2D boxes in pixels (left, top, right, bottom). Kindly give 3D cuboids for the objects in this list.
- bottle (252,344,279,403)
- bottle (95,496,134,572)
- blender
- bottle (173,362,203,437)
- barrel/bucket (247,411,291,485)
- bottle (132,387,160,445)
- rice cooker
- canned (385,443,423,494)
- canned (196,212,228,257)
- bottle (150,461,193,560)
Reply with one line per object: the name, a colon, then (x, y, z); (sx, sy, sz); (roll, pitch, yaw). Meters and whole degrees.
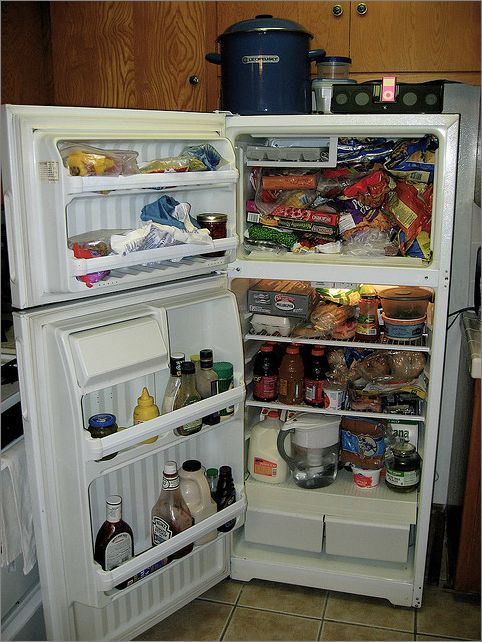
bottle: (0.085, 0.175, 1.722); (0.087, 0.186, 0.085); (0, 11, 0)
bottle: (-0.294, 0.506, 1.214); (0.088, 0.214, 0.053); (-14, 29, -35)
blender: (0.253, 0.415, 1.790); (0.214, 0.254, 0.213); (4, 12, 20)
bottle: (-0.141, 0.208, 1.334); (0.067, 0.195, 0.083); (5, 8, 42)
barrel/bucket: (0.109, 0.439, 1.817); (0.177, 0.264, 0.167); (0, 14, 0)
bottle: (-0.223, 0.215, 1.222); (0.060, 0.125, 0.060); (2, 21, -1)
rice cooker: (0.060, -0.679, 1.394); (0.322, 0.239, 0.154); (0, 16, 8)
canned: (0.525, 0.487, 1.714); (0.120, 0.156, 0.157); (-1, 3, 1)
canned: (-0.058, -0.238, 1.384); (0.103, 0.111, 0.102); (-2, 8, -5)
bottle: (-0.180, 0.490, 1.326); (0.112, 0.270, 0.121); (-1, 9, 0)
